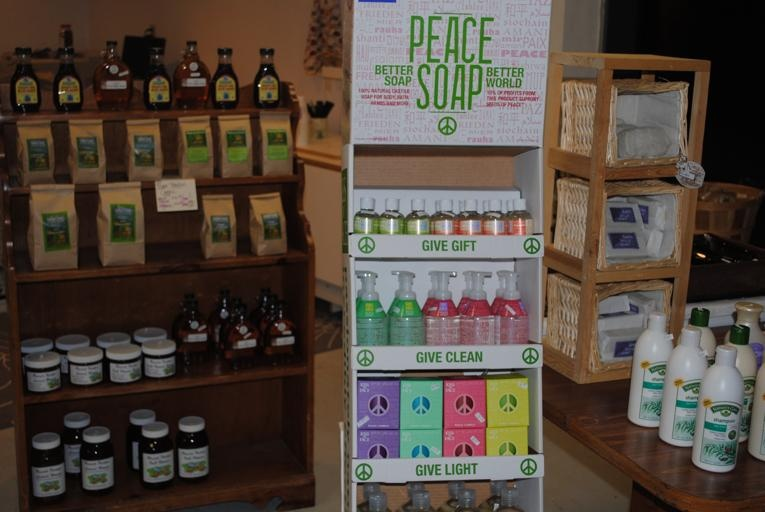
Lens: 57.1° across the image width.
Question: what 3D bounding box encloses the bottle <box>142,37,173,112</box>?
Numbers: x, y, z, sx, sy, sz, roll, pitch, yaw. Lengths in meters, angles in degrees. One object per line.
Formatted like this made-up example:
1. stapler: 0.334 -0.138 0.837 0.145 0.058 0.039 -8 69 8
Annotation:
1. bottle: -1.162 -0.910 3.657 0.152 0.371 0.091 -5 -13 -11

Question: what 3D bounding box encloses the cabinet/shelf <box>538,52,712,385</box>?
1. cabinet/shelf: 1.045 -0.163 3.218 0.429 1.430 0.606 -4 16 -9

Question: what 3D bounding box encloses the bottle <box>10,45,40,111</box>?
1. bottle: -1.786 -0.876 3.494 0.146 0.317 0.218 -10 15 -25

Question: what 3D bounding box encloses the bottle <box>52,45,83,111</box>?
1. bottle: -1.581 -0.878 3.514 0.144 0.305 0.105 -10 15 -25

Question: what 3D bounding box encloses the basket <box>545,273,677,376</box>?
1. basket: 1.016 0.281 3.146 0.467 0.475 0.370 3 3 -16

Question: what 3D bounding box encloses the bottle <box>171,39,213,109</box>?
1. bottle: -1.015 -0.959 3.716 0.203 0.351 0.243 -7 14 -14

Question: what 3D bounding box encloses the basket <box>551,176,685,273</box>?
1. basket: 1.031 -0.150 3.158 0.494 0.364 0.369 0 9 -22

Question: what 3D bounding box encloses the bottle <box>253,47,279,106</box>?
1. bottle: -0.632 -0.951 3.769 0.137 0.305 0.078 -6 14 -11

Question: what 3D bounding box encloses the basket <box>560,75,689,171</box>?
1. basket: 1.028 -0.515 3.080 0.456 0.364 0.442 -1 6 -20

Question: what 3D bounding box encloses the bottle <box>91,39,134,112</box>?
1. bottle: -1.382 -0.919 3.580 0.186 0.335 0.165 -9 14 -21
